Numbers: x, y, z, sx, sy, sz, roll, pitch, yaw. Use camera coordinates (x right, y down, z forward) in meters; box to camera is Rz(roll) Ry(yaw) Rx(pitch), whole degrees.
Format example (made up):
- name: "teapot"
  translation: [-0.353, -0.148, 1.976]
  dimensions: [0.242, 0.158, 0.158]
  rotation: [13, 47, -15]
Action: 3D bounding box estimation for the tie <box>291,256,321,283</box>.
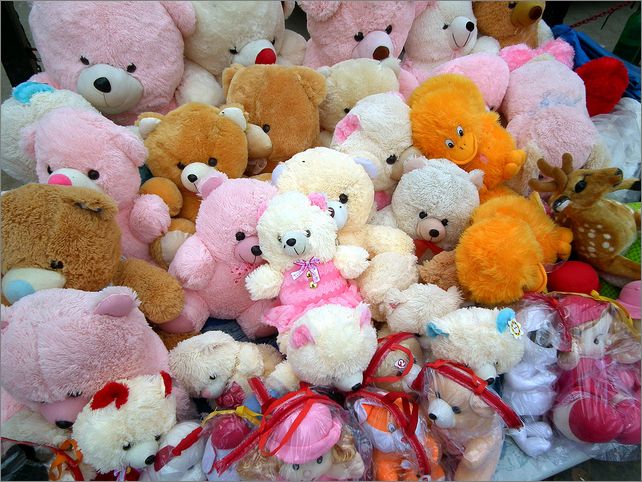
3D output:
- name: "tie"
  translation: [-0.052, 0.098, 1.862]
  dimensions: [0.095, 0.035, 0.080]
  rotation: [1, 75, 0]
